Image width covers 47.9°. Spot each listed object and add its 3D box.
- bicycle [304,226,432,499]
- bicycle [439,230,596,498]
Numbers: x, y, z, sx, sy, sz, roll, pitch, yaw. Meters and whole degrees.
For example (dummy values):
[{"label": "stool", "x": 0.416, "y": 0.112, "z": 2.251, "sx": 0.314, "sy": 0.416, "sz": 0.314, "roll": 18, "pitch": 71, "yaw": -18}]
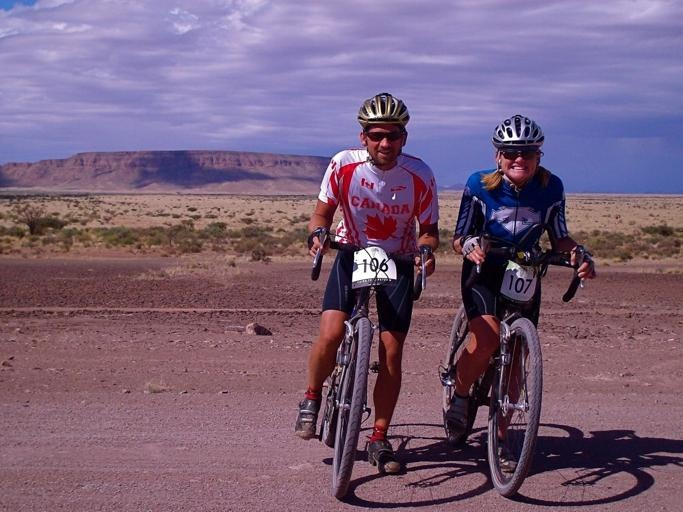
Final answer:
[{"label": "bicycle", "x": 0.174, "y": 0.825, "z": 6.318, "sx": 0.939, "sy": 2.048, "sz": 1.033, "roll": -2, "pitch": 7, "yaw": -22}, {"label": "bicycle", "x": 1.374, "y": 0.837, "z": 6.451, "sx": 0.802, "sy": 2.007, "sz": 1.518, "roll": -1, "pitch": 7, "yaw": -15}]
